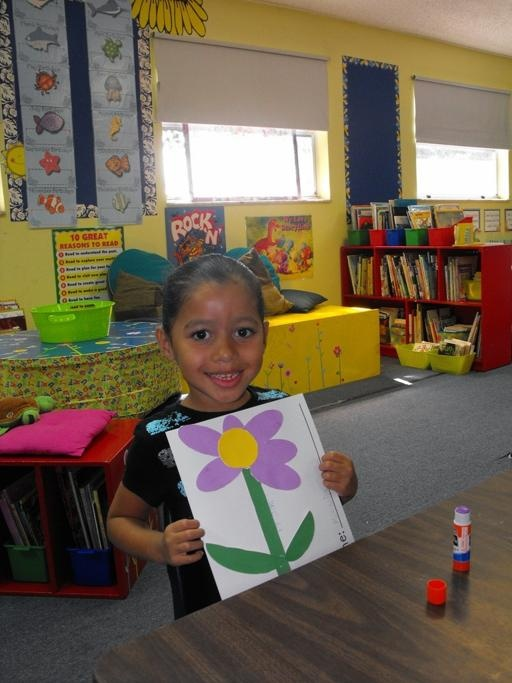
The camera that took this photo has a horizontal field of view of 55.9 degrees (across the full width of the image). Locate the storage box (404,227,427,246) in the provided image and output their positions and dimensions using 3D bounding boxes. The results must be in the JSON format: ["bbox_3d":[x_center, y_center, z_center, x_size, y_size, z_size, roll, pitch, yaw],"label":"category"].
[{"bbox_3d":[1.499,-0.974,4.504,0.175,0.160,0.175,0,3,7],"label":"storage box"}]

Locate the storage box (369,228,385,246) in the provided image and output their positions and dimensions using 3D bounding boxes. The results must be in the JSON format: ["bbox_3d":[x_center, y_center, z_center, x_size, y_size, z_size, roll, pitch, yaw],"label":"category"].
[{"bbox_3d":[1.213,-1.041,4.803,0.158,0.152,0.159,2,15,13],"label":"storage box"}]

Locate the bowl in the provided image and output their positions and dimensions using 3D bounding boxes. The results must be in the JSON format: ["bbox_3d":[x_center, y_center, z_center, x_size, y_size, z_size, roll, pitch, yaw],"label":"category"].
[{"bbox_3d":[-0.893,-0.097,2.399,0.379,0.142,0.393,-4,8,1],"label":"bowl"}]

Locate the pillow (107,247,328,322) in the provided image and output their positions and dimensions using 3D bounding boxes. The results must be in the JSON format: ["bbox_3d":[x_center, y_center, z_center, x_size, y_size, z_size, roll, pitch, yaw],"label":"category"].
[{"bbox_3d":[-0.257,-0.333,2.679,0.880,0.285,0.459,-6,5,-27],"label":"pillow"}]

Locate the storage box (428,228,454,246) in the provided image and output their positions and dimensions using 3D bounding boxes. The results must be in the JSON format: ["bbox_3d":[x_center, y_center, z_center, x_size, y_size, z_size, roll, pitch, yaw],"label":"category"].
[{"bbox_3d":[1.687,-0.938,4.361,0.227,0.126,0.152,-4,2,7],"label":"storage box"}]

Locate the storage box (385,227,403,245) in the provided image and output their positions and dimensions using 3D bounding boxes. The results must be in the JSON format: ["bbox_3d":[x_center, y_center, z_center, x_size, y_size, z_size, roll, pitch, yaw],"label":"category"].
[{"bbox_3d":[1.330,-1.019,4.647,0.169,0.155,0.163,-10,16,-40],"label":"storage box"}]

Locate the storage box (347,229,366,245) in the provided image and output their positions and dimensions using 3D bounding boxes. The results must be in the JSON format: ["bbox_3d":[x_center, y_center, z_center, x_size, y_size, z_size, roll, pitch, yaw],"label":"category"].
[{"bbox_3d":[1.056,-1.077,4.988,0.155,0.108,0.162,-1,3,-1],"label":"storage box"}]
